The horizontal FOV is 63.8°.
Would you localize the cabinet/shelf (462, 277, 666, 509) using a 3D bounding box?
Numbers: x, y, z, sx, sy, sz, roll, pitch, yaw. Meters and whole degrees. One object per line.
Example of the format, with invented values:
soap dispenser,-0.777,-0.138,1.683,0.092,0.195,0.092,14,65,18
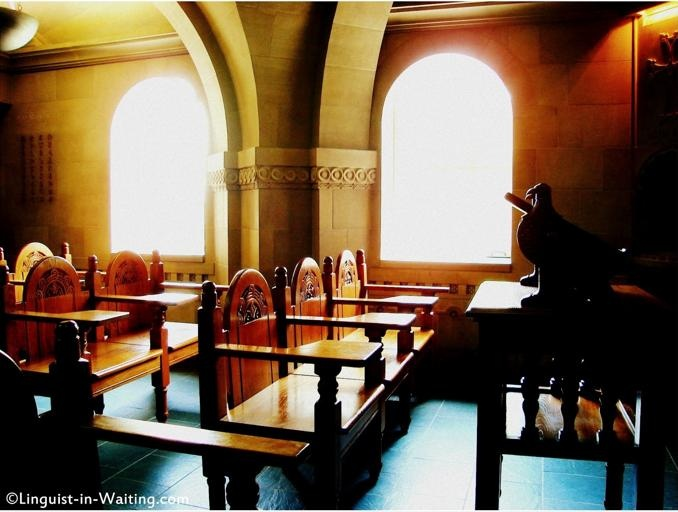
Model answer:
cabinet/shelf,1.012,0.606,2.758,0.868,1.078,1.076,1,-2,17
